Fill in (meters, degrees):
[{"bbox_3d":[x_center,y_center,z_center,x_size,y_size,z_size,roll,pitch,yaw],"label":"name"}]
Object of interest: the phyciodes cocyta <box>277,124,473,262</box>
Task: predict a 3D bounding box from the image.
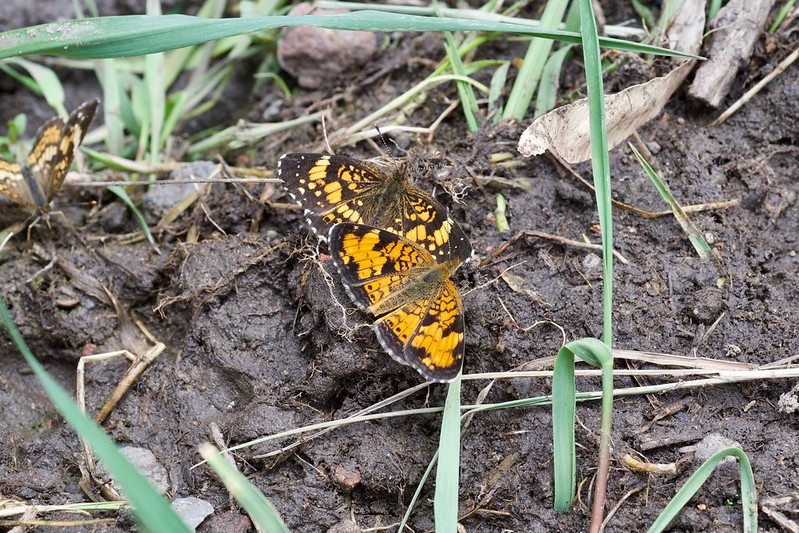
[{"bbox_3d":[-0.094,-0.266,3.647,0.963,0.273,0.493,30,95,-18],"label":"phyciodes cocyta"}]
